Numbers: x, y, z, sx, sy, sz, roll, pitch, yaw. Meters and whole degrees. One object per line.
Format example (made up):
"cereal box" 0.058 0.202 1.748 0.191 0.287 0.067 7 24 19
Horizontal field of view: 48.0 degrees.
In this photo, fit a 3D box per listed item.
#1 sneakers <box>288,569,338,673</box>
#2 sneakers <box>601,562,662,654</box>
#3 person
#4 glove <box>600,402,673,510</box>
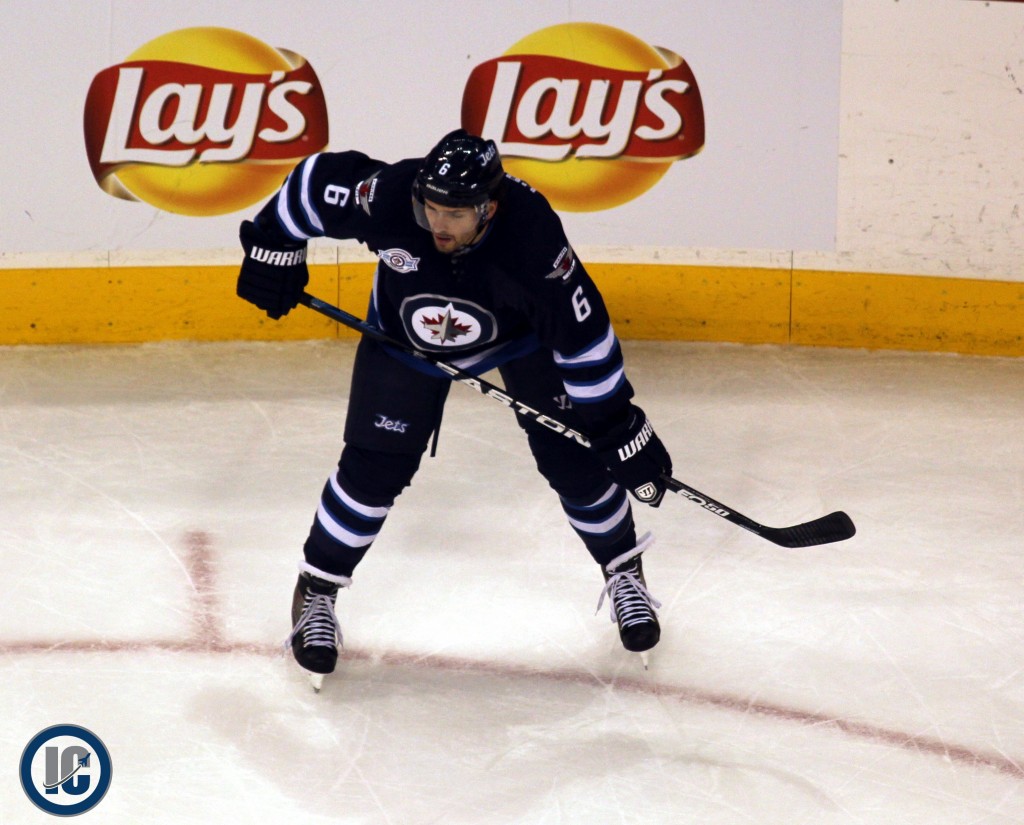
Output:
"sneakers" -0.537 0.537 2.971 0.108 0.118 0.280 2 26 -18
"sneakers" 0.314 0.503 3.133 0.138 0.129 0.353 -17 26 3
"person" -0.154 -0.076 2.986 1.246 1.429 0.756 11 33 12
"glove" 0.332 0.107 3.003 0.159 0.275 0.101 -30 19 25
